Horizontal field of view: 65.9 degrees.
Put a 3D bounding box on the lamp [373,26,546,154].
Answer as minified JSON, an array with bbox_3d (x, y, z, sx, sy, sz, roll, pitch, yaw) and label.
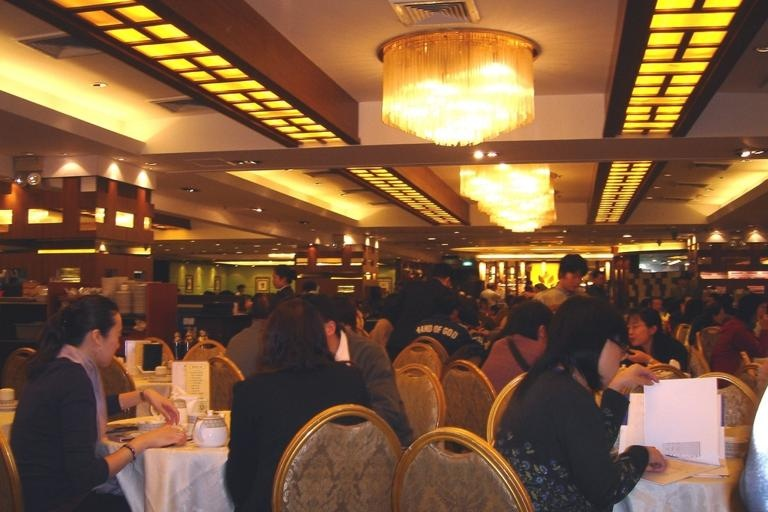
[{"bbox_3d":[0.784,-1.519,5.516,1.595,0.816,1.445,-14,21,-33],"label":"lamp"}]

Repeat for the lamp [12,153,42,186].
[{"bbox_3d":[-4.617,-1.136,7.649,0.490,0.365,0.230,-2,0,2],"label":"lamp"}]

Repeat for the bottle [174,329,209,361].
[{"bbox_3d":[-2.251,1.032,6.857,0.350,0.269,0.571,1,-5,5],"label":"bottle"}]

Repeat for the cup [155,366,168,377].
[{"bbox_3d":[-2.132,1.110,5.682,0.121,0.081,0.107,0,-7,6],"label":"cup"}]

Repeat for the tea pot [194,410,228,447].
[{"bbox_3d":[-0.992,0.965,3.300,0.219,0.188,0.256,-1,-8,4],"label":"tea pot"}]

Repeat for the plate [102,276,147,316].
[{"bbox_3d":[-3.417,0.504,7.805,0.665,0.366,0.464,5,-5,-44],"label":"plate"}]
